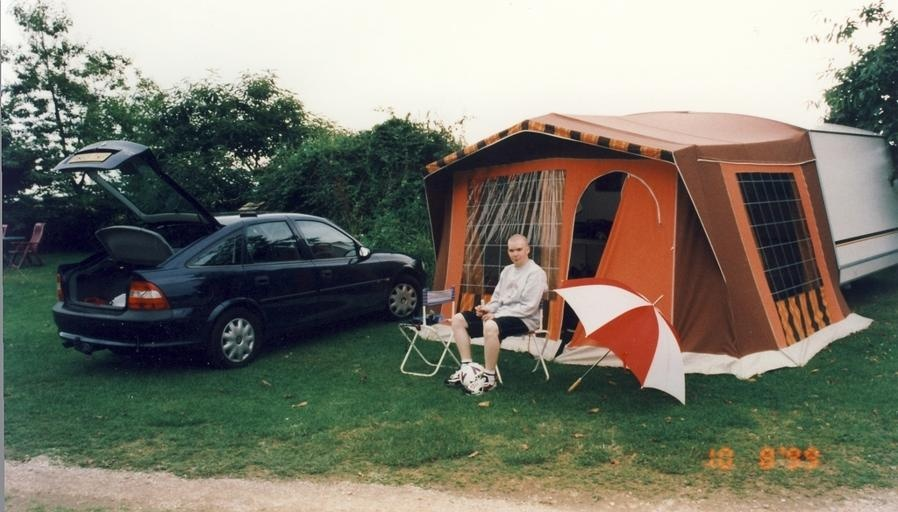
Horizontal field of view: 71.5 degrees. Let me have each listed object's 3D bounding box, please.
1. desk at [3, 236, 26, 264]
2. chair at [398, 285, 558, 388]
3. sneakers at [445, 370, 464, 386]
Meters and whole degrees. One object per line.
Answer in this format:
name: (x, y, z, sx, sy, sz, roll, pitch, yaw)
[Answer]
desk: (-14.213, -0.199, 20.524, 0.576, 0.878, 1.649, -1, 4, -35)
chair: (0.180, 1.353, 11.332, 2.638, 1.585, 1.501, 0, 0, 33)
sneakers: (0.124, 2.049, 10.394, 0.165, 0.177, 0.441, 13, -12, -38)
